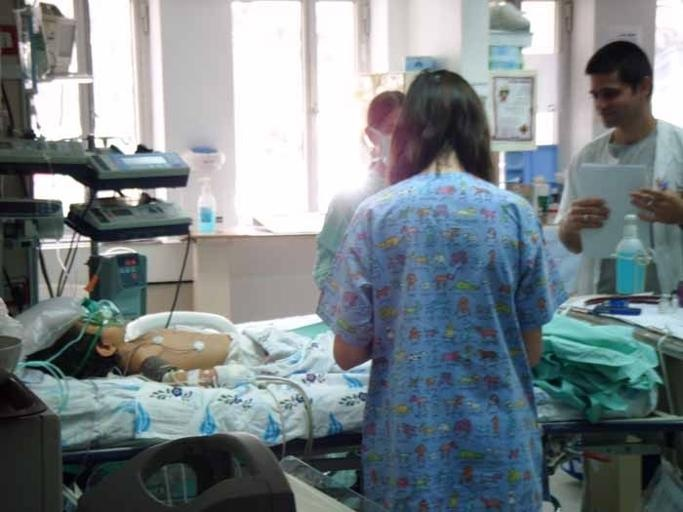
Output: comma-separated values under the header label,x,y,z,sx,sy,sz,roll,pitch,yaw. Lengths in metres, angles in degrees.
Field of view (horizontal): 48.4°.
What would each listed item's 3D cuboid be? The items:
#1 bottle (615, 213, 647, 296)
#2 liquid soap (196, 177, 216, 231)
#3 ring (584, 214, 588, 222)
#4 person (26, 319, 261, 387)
label,x,y,z,sx,sy,sz,roll,pitch,yaw
bottle,1.253,-0.003,3.282,0.134,0.364,0.212,1,7,20
liquid soap,-0.898,-0.339,5.024,0.111,0.352,0.264,-3,7,-11
ring,1.043,-0.164,3.247,0.019,0.019,0.006,-13,-3,10
person,-0.911,0.372,3.146,0.849,0.239,0.497,-1,7,-14
